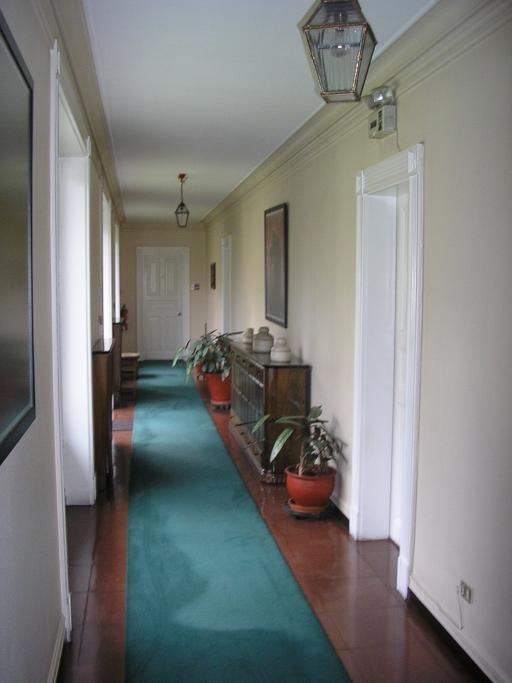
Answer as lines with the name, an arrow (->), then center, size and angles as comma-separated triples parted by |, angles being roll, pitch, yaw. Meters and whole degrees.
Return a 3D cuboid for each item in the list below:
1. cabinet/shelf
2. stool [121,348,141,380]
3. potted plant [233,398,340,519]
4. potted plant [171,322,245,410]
cabinet/shelf -> 0.026, 0.618, 4.751 | 0.363, 1.055, 1.667 | 2, 5, -17
stool -> -1.974, 0.345, 7.364 | 0.335, 0.478, 0.409 | 0, 1, -8
potted plant -> 0.272, 0.822, 3.454 | 0.561, 0.821, 0.630 | 3, -2, -18
potted plant -> -0.705, 0.384, 7.105 | 0.941, 1.447, 1.234 | -2, -5, 16
